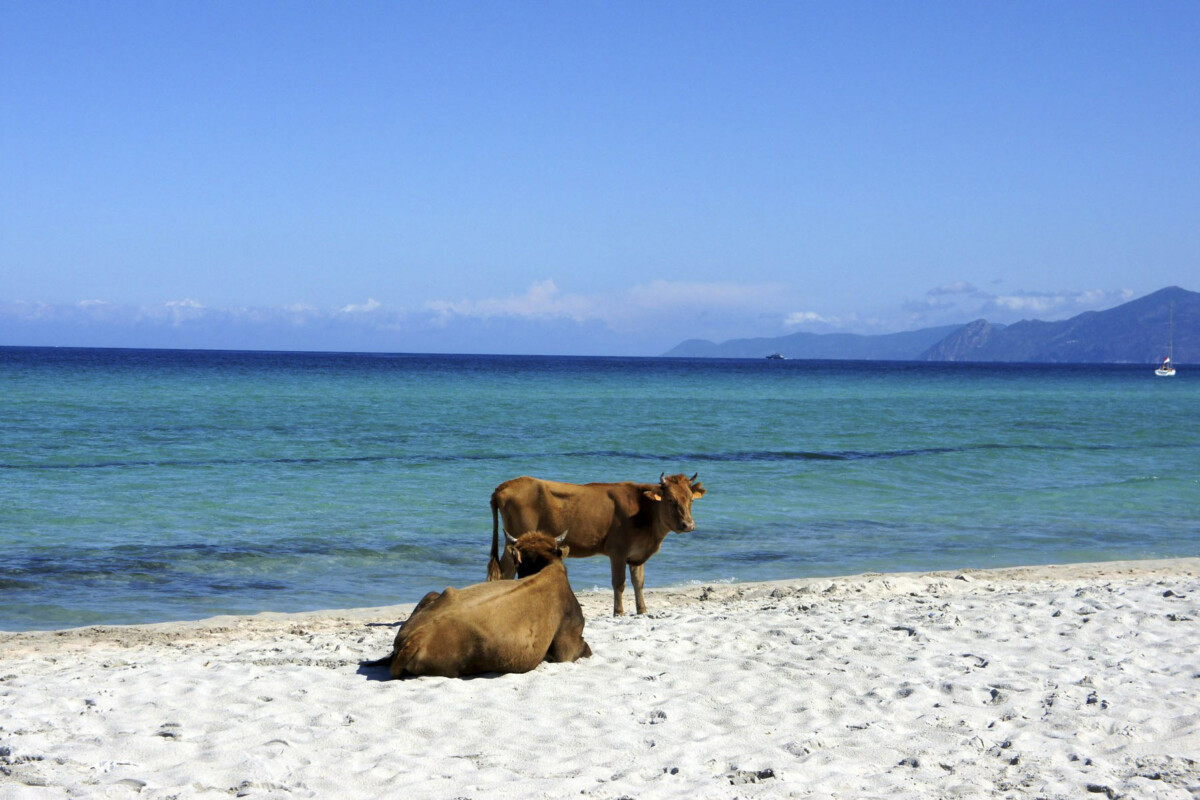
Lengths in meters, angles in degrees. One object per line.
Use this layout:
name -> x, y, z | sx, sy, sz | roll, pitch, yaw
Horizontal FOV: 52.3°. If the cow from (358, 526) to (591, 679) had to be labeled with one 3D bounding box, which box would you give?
cow -> -1.459, 2.697, 15.637 | 1.360, 1.196, 2.642 | 1, 8, 44
